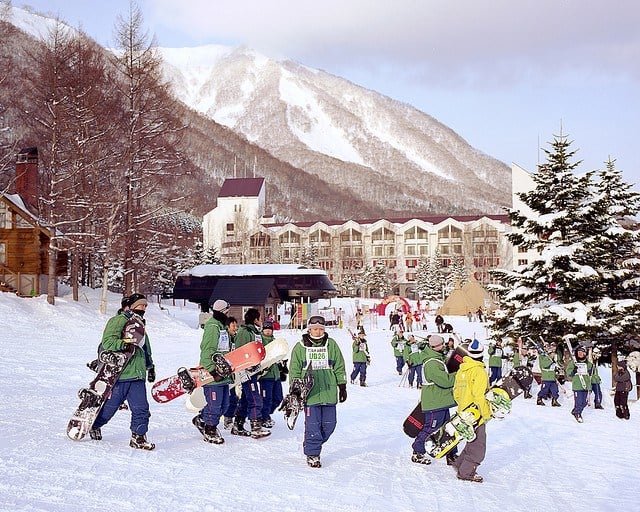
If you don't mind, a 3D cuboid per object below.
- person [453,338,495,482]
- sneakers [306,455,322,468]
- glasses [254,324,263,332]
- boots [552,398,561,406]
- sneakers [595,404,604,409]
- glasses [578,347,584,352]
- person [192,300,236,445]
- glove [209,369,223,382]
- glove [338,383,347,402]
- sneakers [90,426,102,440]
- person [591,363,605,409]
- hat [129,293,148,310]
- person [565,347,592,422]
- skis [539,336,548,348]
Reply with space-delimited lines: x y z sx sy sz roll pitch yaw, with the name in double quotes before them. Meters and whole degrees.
"person" 3.338 3.441 17.635 0.805 2.936 0.768 2 -6 2
"sneakers" -0.132 4.529 17.764 0.214 0.255 0.274 7 -30 -45
"glasses" -1.572 1.848 20.696 0.161 0.139 0.134 -5 3 -11
"boots" 7.387 4.585 25.132 0.259 0.203 0.430 1 -6 20
"sneakers" 8.653 4.653 24.918 0.271 0.198 0.092 -2 3 -17
"glasses" 7.709 2.753 23.734 0.194 0.129 0.195 1 -6 18
"person" -2.469 2.695 18.858 0.802 3.331 0.979 4 -6 -15
"glove" -2.388 2.750 18.496 0.191 0.314 0.095 -44 -13 12
"glove" 0.484 3.012 17.741 0.143 0.381 0.271 4 -6 -16
"sneakers" -5.091 4.021 18.292 0.292 0.310 0.222 0 -1 2
"person" 8.534 4.003 24.745 0.337 1.379 1.898 1 -6 19
"hat" -4.095 1.029 18.203 0.409 0.363 0.305 -1 -3 32
"person" 7.611 3.729 23.602 0.624 2.103 1.004 0 -6 24
"skis" 7.544 2.882 27.161 0.116 0.336 0.090 -33 5 -6
